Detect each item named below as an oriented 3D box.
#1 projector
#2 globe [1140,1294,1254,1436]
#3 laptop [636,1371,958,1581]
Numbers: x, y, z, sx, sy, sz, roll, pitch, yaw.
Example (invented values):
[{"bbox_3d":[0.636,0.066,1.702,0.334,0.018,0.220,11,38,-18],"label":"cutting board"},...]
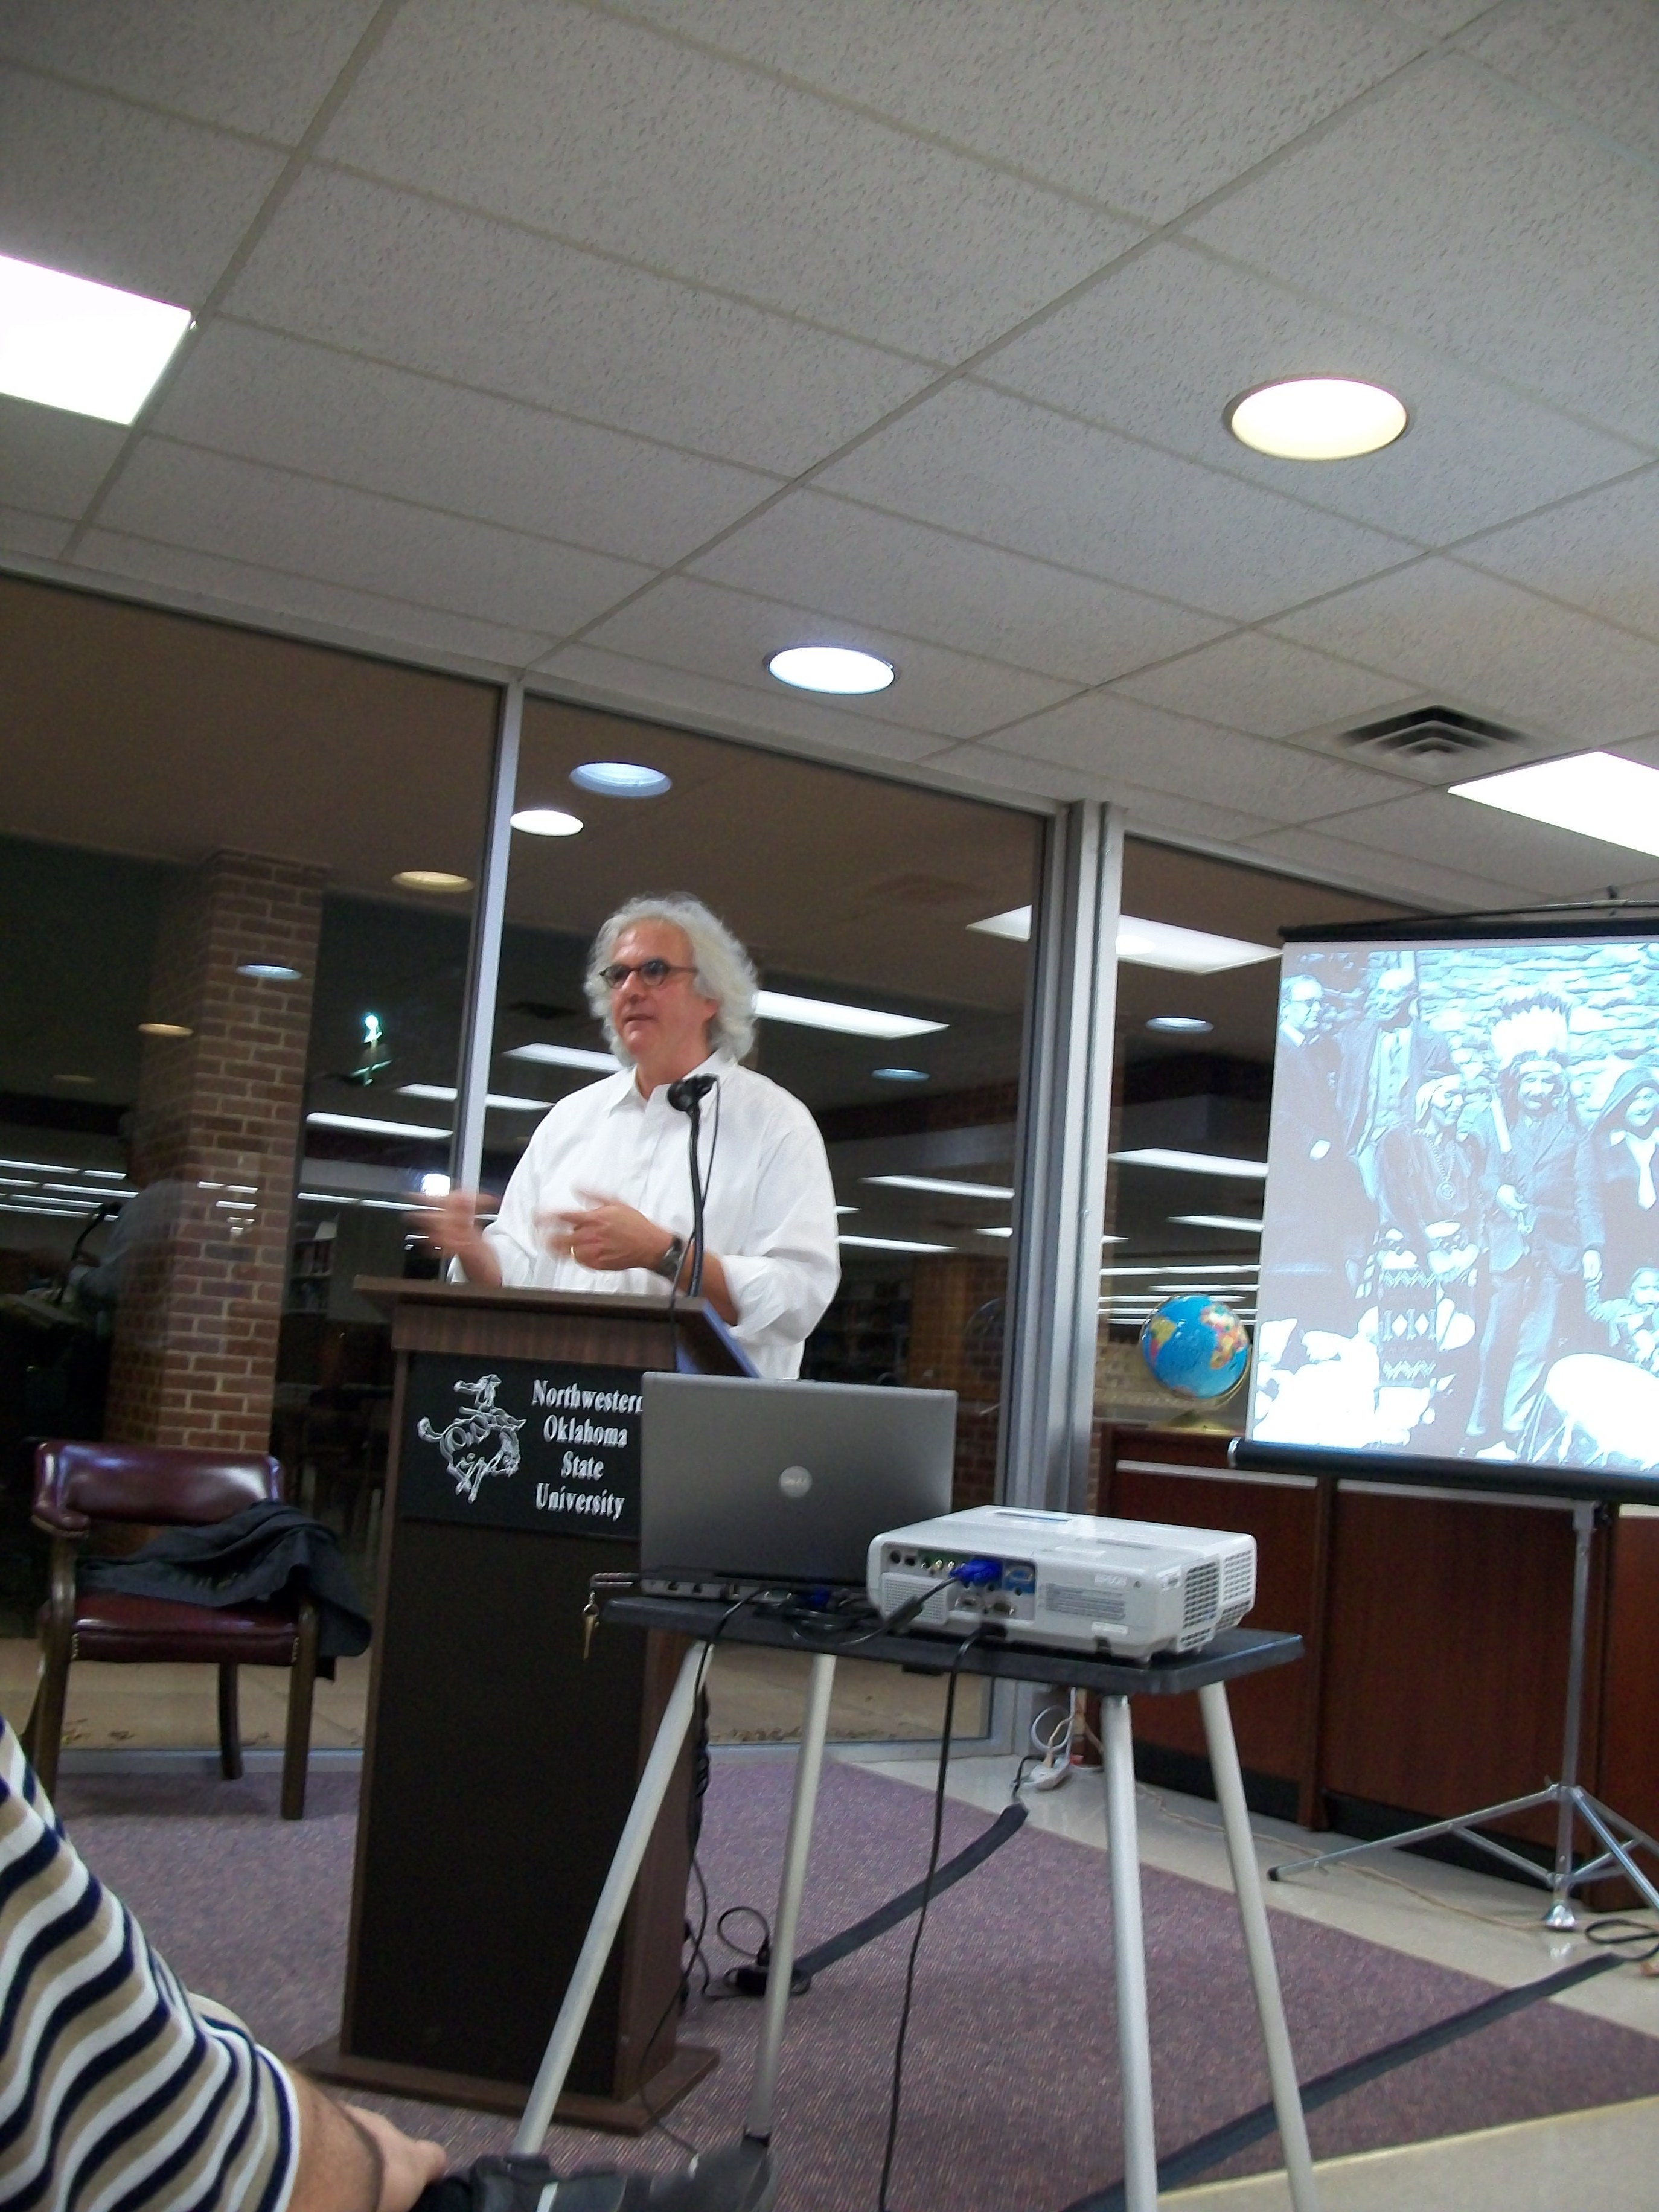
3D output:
[{"bbox_3d":[0.217,0.465,1.684,0.329,0.116,0.316,2,-3,28],"label":"projector"},{"bbox_3d":[0.965,0.701,4.709,0.321,0.318,0.291,-12,-5,-6],"label":"globe"},{"bbox_3d":[-0.043,0.369,1.686,0.316,0.192,0.214,1,-1,4],"label":"laptop"}]
